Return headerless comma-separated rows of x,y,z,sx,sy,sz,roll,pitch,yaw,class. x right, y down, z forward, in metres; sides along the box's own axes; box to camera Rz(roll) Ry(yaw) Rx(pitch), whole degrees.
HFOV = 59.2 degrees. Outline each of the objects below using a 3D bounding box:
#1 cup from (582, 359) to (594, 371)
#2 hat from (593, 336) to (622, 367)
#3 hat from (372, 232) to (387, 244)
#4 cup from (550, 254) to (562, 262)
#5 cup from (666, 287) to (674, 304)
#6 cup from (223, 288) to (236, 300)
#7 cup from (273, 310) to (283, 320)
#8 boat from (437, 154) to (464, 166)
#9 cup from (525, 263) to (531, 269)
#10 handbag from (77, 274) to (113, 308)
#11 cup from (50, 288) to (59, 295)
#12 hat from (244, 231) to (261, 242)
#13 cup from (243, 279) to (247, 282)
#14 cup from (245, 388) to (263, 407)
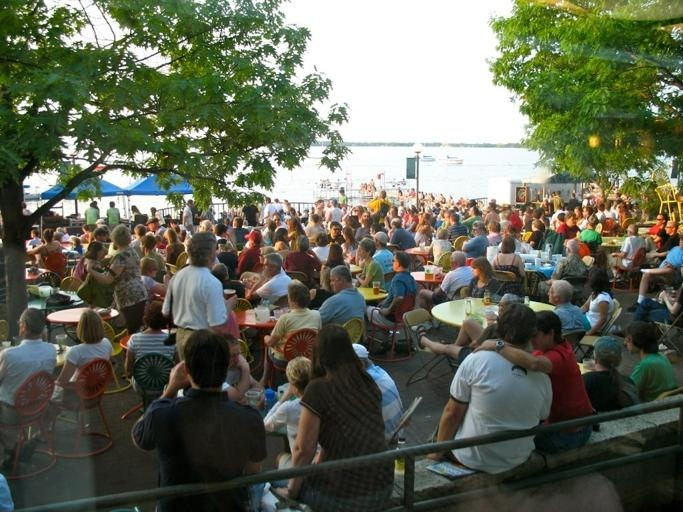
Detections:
2.688,1.189,6.548,0.120,0.108,0.117,-2,2,0,cup
2.545,0.908,5.828,0.261,0.328,0.305,4,22,15,hat
0.713,-0.338,11.338,0.246,0.129,0.195,28,26,31,hat
4.298,0.053,12.030,0.167,0.252,0.170,-1,2,0,cup
5.277,0.638,9.612,0.126,0.169,0.064,11,-3,33,cup
-1.578,0.534,8.463,0.177,0.129,0.176,1,9,0,cup
-0.865,0.803,8.207,0.113,0.116,0.134,1,-4,0,cup
36.491,-32.691,202.264,5.655,2.839,53.272,2,13,8,boat
3.613,0.194,11.588,0.095,0.068,0.096,-3,2,0,cup
-3.501,0.473,8.606,0.510,0.498,0.412,3,16,-24,handbag
-4.600,0.571,9.609,0.093,0.168,0.098,0,1,0,cup
-1.838,-0.385,12.376,0.303,0.158,0.225,28,34,26,hat
-1.699,0.432,10.514,0.039,0.039,0.035,2,3,26,cup
-0.827,1.338,5.720,0.120,0.123,0.178,1,0,1,cup
